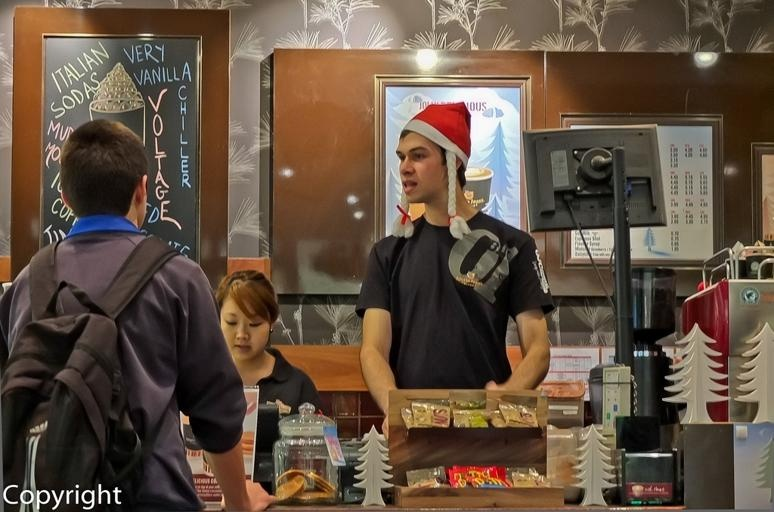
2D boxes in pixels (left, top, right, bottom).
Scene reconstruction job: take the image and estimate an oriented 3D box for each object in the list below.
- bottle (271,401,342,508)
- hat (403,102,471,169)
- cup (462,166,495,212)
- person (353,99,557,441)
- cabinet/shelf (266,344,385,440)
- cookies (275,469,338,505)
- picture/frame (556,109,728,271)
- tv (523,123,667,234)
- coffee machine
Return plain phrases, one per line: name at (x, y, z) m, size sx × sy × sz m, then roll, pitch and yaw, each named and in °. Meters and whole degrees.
bottle at (-0.227, 0.703, 3.163) m, size 0.227 × 0.308 × 0.276 m, roll 0°, pitch -13°, yaw 1°
hat at (0.239, -0.507, 3.833) m, size 0.304 × 0.255 × 0.223 m, roll 9°, pitch 1°, yaw -2°
cup at (0.516, -0.390, 5.167) m, size 0.208 × 0.219 × 0.220 m, roll 0°, pitch -1°, yaw 0°
person at (0.277, -0.029, 3.722) m, size 0.803 × 1.271 × 0.453 m, roll -1°, pitch -3°, yaw -3°
cabinet/shelf at (-0.291, 0.621, 4.191) m, size 0.589 × 0.543 × 0.193 m, roll 1°, pitch -3°, yaw -4°
cookies at (-0.288, 0.797, 3.110) m, size 0.130 × 0.052 × 0.146 m, roll -1°, pitch -8°, yaw 37°
picture/frame at (1.253, -0.276, 4.360) m, size 0.888 × 0.744 × 0.094 m, roll -1°, pitch -4°, yaw -1°
tv at (0.828, -0.306, 3.622) m, size 0.608 × 0.510 × 0.207 m, roll -2°, pitch -3°, yaw 10°
coffee machine at (0.990, 0.348, 3.657) m, size 0.362 × 0.621 × 0.860 m, roll -2°, pitch -4°, yaw 17°
